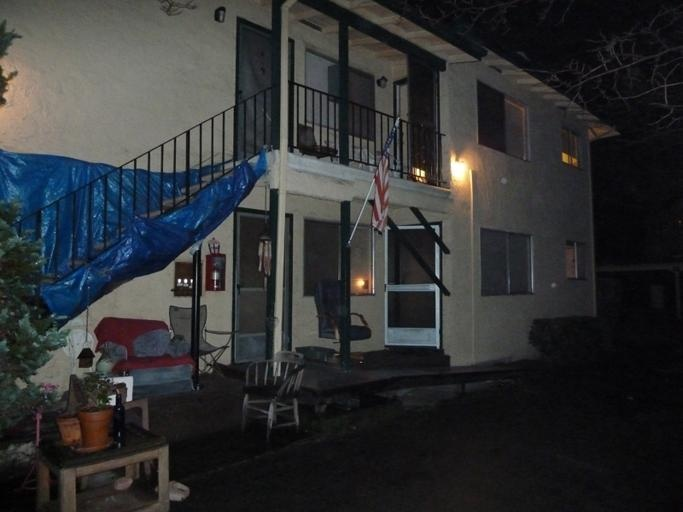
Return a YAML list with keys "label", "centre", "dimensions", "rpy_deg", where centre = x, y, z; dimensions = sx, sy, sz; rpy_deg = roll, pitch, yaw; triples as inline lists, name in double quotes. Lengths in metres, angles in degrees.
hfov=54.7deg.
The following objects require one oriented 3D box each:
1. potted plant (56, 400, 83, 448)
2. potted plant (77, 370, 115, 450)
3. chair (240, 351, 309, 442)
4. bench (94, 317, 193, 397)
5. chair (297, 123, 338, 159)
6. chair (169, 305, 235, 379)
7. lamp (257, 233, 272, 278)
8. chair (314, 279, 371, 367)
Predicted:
- label: "potted plant"
  centre: [-2.822, 1.768, 6.795]
  dimensions: [0.272, 0.339, 0.271]
  rpy_deg: [7, -14, -41]
- label: "potted plant"
  centre: [-2.506, 1.606, 6.808]
  dimensions: [0.377, 0.708, 0.388]
  rpy_deg: [0, -5, -35]
- label: "chair"
  centre: [-0.891, 1.785, 8.649]
  dimensions: [0.679, 0.999, 0.627]
  rpy_deg: [5, 0, 31]
- label: "bench"
  centre: [-2.895, 1.450, 9.739]
  dimensions: [1.348, 0.945, 1.076]
  rpy_deg: [-1, 12, -24]
- label: "chair"
  centre: [-0.420, -1.853, 10.907]
  dimensions: [0.545, 0.513, 0.383]
  rpy_deg: [13, 1, 2]
- label: "chair"
  centre: [-2.226, 1.347, 10.335]
  dimensions: [0.787, 1.185, 0.669]
  rpy_deg: [-5, 1, -42]
- label: "lamp"
  centre: [-1.218, -0.017, 10.423]
  dimensions: [0.244, 0.769, 0.668]
  rpy_deg: [-2, 2, -18]
- label: "chair"
  centre: [0.035, 1.054, 11.110]
  dimensions: [0.793, 1.357, 0.816]
  rpy_deg: [0, -4, -44]
